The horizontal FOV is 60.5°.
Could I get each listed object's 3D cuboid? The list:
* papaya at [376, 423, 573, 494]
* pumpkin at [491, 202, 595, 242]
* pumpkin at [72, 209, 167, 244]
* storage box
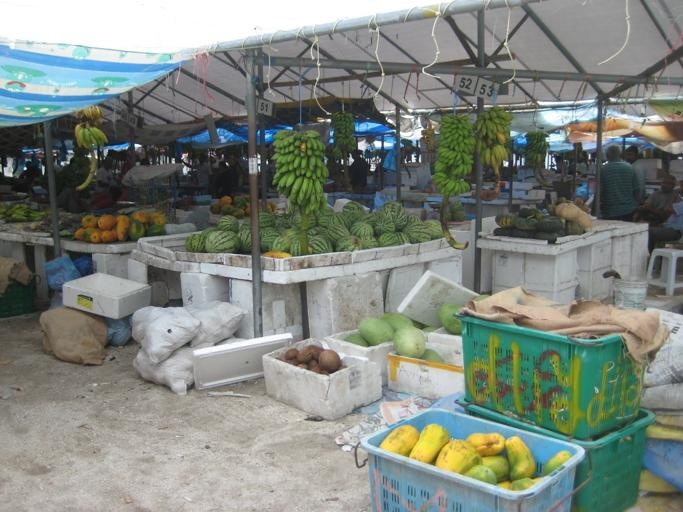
[{"bbox_3d":[0.750,1.148,3.316,1.063,0.285,0.440,0,5,3],"label":"papaya"},{"bbox_3d":[2.379,-0.424,7.057,0.883,0.473,0.913,4,6,41],"label":"pumpkin"},{"bbox_3d":[-2.868,-0.364,7.428,0.779,0.253,0.584,2,9,34],"label":"pumpkin"},{"bbox_3d":[-2.535,0.413,6.356,0.827,0.245,0.576,10,15,19],"label":"storage box"}]
